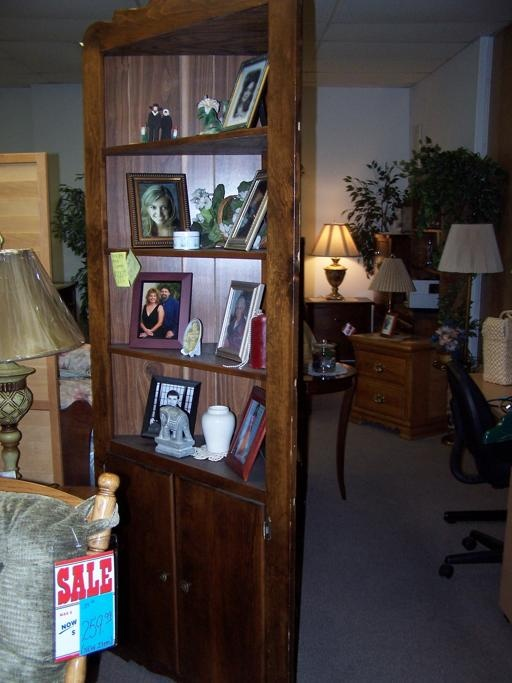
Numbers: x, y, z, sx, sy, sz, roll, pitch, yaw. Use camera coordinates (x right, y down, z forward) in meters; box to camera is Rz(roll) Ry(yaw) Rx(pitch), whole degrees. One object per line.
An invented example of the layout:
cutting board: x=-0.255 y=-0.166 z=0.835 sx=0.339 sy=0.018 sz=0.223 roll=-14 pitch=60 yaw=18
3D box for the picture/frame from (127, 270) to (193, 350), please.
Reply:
picture/frame: x=-0.311 y=-0.099 z=1.803 sx=0.244 sy=0.320 sz=0.022 roll=3 pitch=-14 yaw=11

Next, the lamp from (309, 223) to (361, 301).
lamp: x=0.920 y=-0.932 z=6.306 sx=0.505 sy=0.863 sz=0.680 roll=0 pitch=8 yaw=10

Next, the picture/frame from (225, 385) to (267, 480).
picture/frame: x=-0.024 y=0.270 z=1.575 sx=0.019 sy=0.252 sz=0.205 roll=13 pitch=13 yaw=-22

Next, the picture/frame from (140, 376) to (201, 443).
picture/frame: x=-0.271 y=0.228 z=1.794 sx=0.187 sy=0.242 sz=0.025 roll=6 pitch=-7 yaw=9

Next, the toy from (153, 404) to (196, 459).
toy: x=-0.248 y=0.284 z=1.711 sx=0.109 sy=0.143 sz=0.084 roll=7 pitch=5 yaw=32

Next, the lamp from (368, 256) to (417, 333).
lamp: x=1.167 y=-0.384 z=4.705 sx=0.390 sy=0.710 sz=0.383 roll=1 pitch=9 yaw=1

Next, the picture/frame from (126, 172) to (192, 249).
picture/frame: x=-0.312 y=-0.425 z=1.769 sx=0.249 sy=0.300 sz=0.022 roll=-5 pitch=8 yaw=-24

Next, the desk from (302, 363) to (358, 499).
desk: x=0.478 y=0.484 z=3.439 sx=0.269 sy=0.727 sz=1.117 roll=0 pitch=8 yaw=10

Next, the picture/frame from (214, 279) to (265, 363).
picture/frame: x=-0.041 y=-0.060 z=1.604 sx=0.028 sy=0.291 sz=0.234 roll=11 pitch=0 yaw=-32
